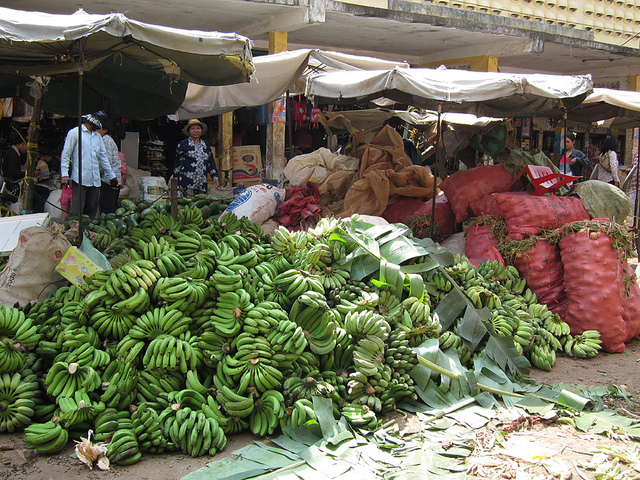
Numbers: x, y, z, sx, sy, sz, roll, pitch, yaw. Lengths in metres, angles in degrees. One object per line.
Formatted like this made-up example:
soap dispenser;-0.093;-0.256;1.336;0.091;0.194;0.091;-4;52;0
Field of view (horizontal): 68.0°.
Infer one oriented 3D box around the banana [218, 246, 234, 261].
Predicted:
banana;-0.808;0.130;4.161;0.080;0.058;0.161;-31;3;5

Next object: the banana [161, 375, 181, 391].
banana;-1.153;1.094;3.640;0.032;0.125;0.044;-42;3;30

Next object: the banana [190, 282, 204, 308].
banana;-0.962;0.451;3.803;0.041;0.156;0.117;-6;10;14

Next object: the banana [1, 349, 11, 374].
banana;-2.326;0.899;3.526;0.059;0.161;0.029;-9;-31;44

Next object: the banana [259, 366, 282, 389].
banana;-0.386;1.051;3.634;0.065;0.193;0.045;-45;2;45

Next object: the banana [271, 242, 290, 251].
banana;-0.391;0.067;4.523;0.241;0.050;0.087;12;37;28

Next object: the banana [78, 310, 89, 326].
banana;-1.850;0.612;3.723;0.036;0.096;0.075;-9;20;43

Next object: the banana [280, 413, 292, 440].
banana;-0.265;1.403;3.590;0.068;0.187;0.040;-8;-21;0

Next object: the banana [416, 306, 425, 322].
banana;0.930;0.670;4.353;0.037;0.155;0.053;33;-21;-1

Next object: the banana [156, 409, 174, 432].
banana;-1.151;1.315;3.501;0.057;0.193;0.041;3;-43;21

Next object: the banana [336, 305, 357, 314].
banana;0.228;0.587;4.081;0.215;0.061;0.075;4;-2;6

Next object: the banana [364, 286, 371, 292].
banana;0.433;0.438;4.279;0.050;0.038;0.038;29;-15;6

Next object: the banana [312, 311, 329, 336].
banana;0.009;0.699;3.958;0.065;0.192;0.040;30;-8;36

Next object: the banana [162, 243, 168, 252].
banana;-1.310;0.053;4.010;0.035;0.064;0.057;1;-1;-19

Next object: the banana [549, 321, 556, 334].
banana;2.538;0.950;5.162;0.032;0.119;0.029;25;-25;16

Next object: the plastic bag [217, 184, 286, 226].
plastic bag;-0.841;-0.537;6.526;0.514;0.241;0.763;15;30;13

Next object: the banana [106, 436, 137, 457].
banana;-1.391;1.442;3.314;0.034;0.176;0.048;37;-29;25

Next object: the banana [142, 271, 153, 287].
banana;-1.361;0.310;3.777;0.037;0.136;0.045;-44;-4;26

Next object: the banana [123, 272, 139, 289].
banana;-1.459;0.312;3.701;0.047;0.177;0.045;-47;-9;36

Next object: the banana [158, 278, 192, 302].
banana;-1.150;0.394;3.779;0.242;0.152;0.084;-23;-6;-20

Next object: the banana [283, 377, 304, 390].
banana;-0.215;1.108;3.750;0.210;0.072;0.049;-17;-15;-47

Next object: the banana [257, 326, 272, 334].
banana;-0.432;0.710;3.760;0.105;0.063;0.050;0;-1;15

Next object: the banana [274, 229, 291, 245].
banana;-0.355;-0.035;4.513;0.084;0.068;0.235;-8;24;-24

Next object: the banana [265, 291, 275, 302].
banana;-0.417;0.469;4.008;0.061;0.075;0.076;-1;-2;40

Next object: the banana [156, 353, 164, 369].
banana;-1.208;0.907;3.578;0.037;0.120;0.036;13;-10;2

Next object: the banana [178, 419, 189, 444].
banana;-0.983;1.366;3.425;0.038;0.200;0.052;16;-15;6

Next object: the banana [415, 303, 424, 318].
banana;0.912;0.631;4.331;0.042;0.156;0.056;20;-37;11

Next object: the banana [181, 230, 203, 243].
banana;-1.176;-0.044;4.329;0.282;0.114;0.121;-1;-2;33

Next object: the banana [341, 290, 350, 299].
banana;0.236;0.482;4.229;0.030;0.111;0.040;29;8;-9

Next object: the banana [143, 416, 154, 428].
banana;-1.244;1.319;3.458;0.026;0.096;0.034;34;-23;-9

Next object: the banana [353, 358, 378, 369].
banana;0.353;0.988;3.831;0.216;0.062;0.074;7;10;-4

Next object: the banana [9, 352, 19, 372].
banana;-2.283;0.926;3.572;0.033;0.096;0.083;0;1;1

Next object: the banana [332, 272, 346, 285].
banana;0.173;0.335;4.369;0.043;0.045;0.180;37;7;-48

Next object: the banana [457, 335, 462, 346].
banana;1.331;0.957;4.517;0.031;0.088;0.080;-1;-2;37

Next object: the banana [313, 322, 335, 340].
banana;0.043;0.761;3.951;0.060;0.102;0.289;32;-52;-19

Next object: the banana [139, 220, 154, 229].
banana;-1.615;-0.153;4.381;0.086;0.080;0.026;-14;4;-1

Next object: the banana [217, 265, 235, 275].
banana;-0.773;0.241;3.947;0.187;0.074;0.089;-1;-2;39

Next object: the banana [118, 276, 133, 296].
banana;-1.500;0.351;3.713;0.047;0.197;0.050;-35;-6;7

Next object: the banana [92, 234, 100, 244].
banana;-2.069;-0.012;4.385;0.035;0.083;0.060;0;-1;19

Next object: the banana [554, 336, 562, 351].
banana;2.568;1.109;5.117;0.045;0.149;0.041;-17;-8;-40

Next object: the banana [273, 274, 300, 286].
banana;-0.281;0.323;4.028;0.141;0.046;0.102;-4;-10;-31

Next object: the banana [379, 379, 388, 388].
banana;0.513;1.150;3.827;0.063;0.037;0.045;36;30;10

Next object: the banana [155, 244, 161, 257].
banana;-1.351;0.083;3.958;0.037;0.138;0.037;5;-35;-23

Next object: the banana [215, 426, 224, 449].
banana;-0.732;1.458;3.495;0.056;0.133;0.100;0;-1;0

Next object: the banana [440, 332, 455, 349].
banana;1.199;0.943;4.429;0.130;0.130;0.055;1;-2;-39

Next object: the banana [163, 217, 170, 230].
banana;-1.400;-0.158;4.343;0.028;0.140;0.037;-17;-3;5

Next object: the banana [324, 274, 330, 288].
banana;0.066;0.371;4.264;0.045;0.096;0.107;0;-1;0

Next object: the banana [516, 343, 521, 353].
banana;1.989;1.065;4.733;0.019;0.071;0.051;14;-16;-26

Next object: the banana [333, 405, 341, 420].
banana;0.136;1.355;3.735;0.025;0.105;0.059;16;27;41

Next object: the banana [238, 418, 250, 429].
banana;-0.586;1.426;3.700;0.102;0.059;0.063;42;-34;-24
